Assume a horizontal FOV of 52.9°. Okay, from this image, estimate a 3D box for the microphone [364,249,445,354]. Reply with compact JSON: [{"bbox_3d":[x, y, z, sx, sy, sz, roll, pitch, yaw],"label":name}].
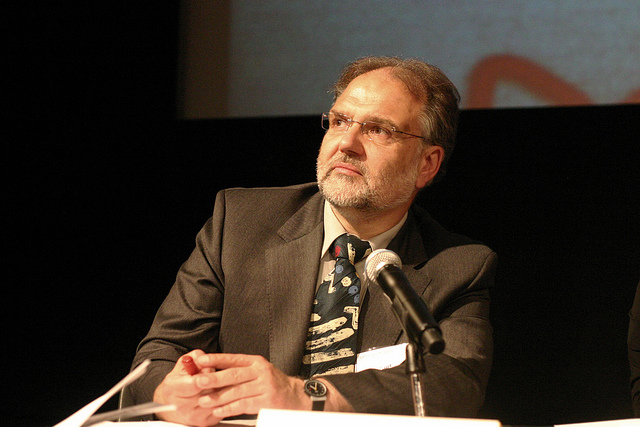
[{"bbox_3d":[0.374,0.382,2.916,0.205,0.193,0.608,-19,44,-14],"label":"microphone"}]
